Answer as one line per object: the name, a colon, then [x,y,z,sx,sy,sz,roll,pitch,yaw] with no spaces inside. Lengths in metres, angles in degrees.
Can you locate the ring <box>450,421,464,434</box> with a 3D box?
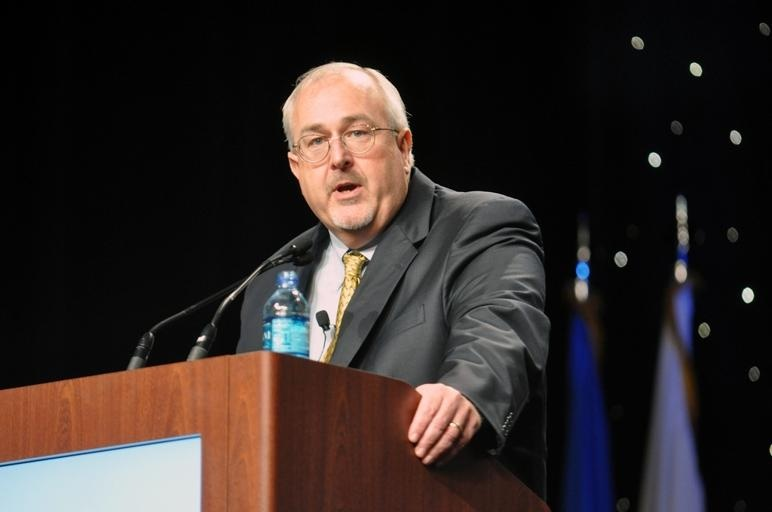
ring: [0.168,0.413,2.063,0.029,0.020,0.029,33,-19,13]

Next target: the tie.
tie: [-0.129,0.154,2.762,0.075,0.450,0.067,12,-44,6]

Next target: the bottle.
bottle: [-0.269,0.150,2.339,0.122,0.239,0.498,1,-5,-7]

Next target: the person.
person: [0.065,-0.079,2.740,0.693,1.279,1.217,4,-5,-32]

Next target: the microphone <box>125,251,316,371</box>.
microphone: [-0.590,0.205,3.073,0.650,0.075,0.217,-33,-16,-28]
